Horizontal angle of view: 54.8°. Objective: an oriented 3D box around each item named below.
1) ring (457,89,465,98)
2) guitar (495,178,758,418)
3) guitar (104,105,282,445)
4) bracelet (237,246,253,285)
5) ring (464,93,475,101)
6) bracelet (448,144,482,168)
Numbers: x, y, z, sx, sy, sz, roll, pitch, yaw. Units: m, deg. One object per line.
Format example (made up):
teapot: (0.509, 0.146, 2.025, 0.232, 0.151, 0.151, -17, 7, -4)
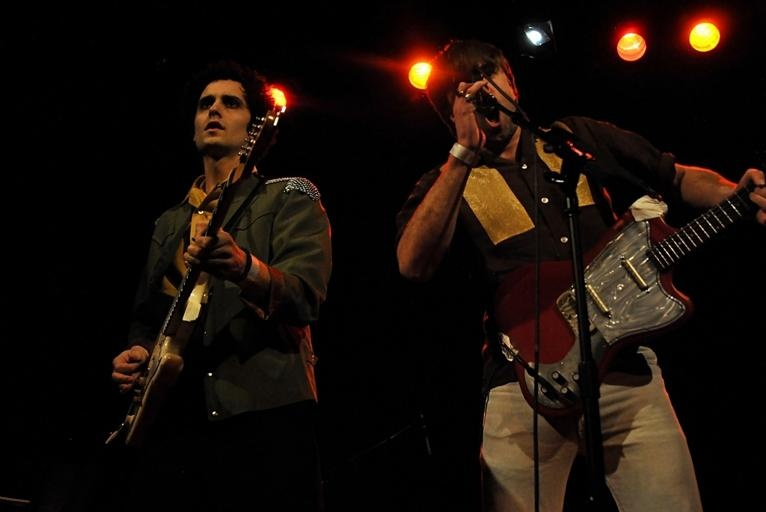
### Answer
ring: (0.415, -0.871, 3.929, 0.010, 0.040, 0.037, 1, 9, -41)
guitar: (1.220, 0.333, 4.150, 1.787, 0.736, 0.257, -37, -26, 11)
guitar: (-1.092, 0.166, 4.233, 0.243, 1.512, 1.638, 19, -40, -29)
bracelet: (-0.740, 0.053, 4.021, 0.108, 0.139, 0.043, -8, -8, 37)
ring: (0.454, -0.843, 3.896, 0.029, 0.042, 0.011, -29, -15, 24)
bracelet: (0.441, -0.572, 4.079, 0.129, 0.129, 0.055, 39, -87, -29)
